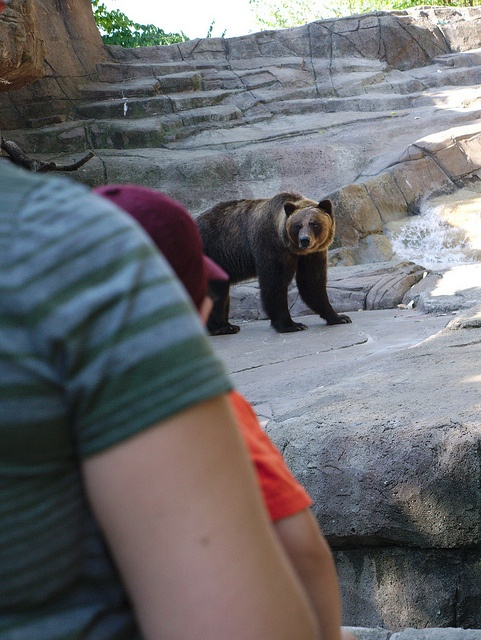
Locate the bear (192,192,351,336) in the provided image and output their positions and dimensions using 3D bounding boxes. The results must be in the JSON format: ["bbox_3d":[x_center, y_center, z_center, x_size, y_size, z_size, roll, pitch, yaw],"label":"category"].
[{"bbox_3d":[0.293,-0.573,6.269,0.937,1.215,1.884,-4,3,-35],"label":"bear"}]
